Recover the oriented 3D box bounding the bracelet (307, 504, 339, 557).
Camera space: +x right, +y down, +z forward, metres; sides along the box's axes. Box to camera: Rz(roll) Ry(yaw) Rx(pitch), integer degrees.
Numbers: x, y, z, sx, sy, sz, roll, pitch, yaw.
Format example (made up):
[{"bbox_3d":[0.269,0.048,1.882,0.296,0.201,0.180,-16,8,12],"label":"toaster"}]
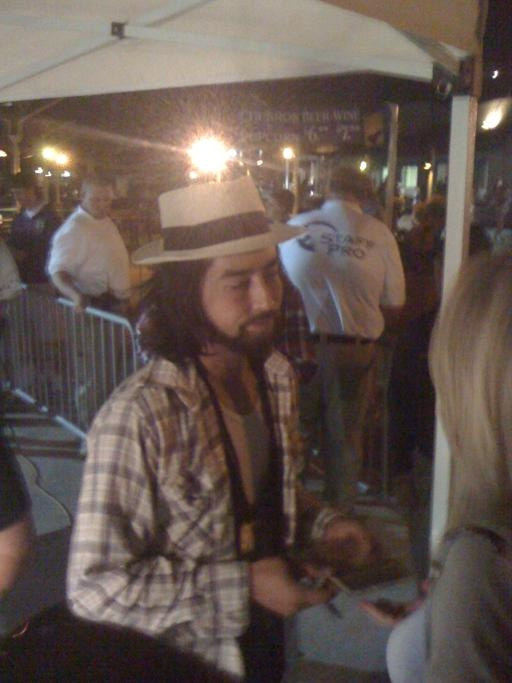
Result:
[{"bbox_3d":[0.175,0.510,1.611,0.041,0.122,0.088,23,-21,8],"label":"bracelet"}]
